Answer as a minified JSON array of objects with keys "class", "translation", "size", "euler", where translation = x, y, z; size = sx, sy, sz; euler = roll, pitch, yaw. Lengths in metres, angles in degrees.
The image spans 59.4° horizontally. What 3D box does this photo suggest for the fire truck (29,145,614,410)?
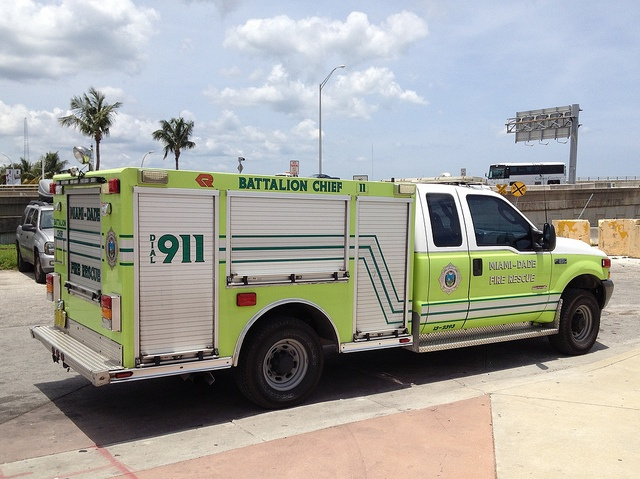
[{"class":"fire truck","translation":[0.725,0.416,8.713],"size":[8.223,3.154,3.165],"euler":[-2,5,-23]}]
